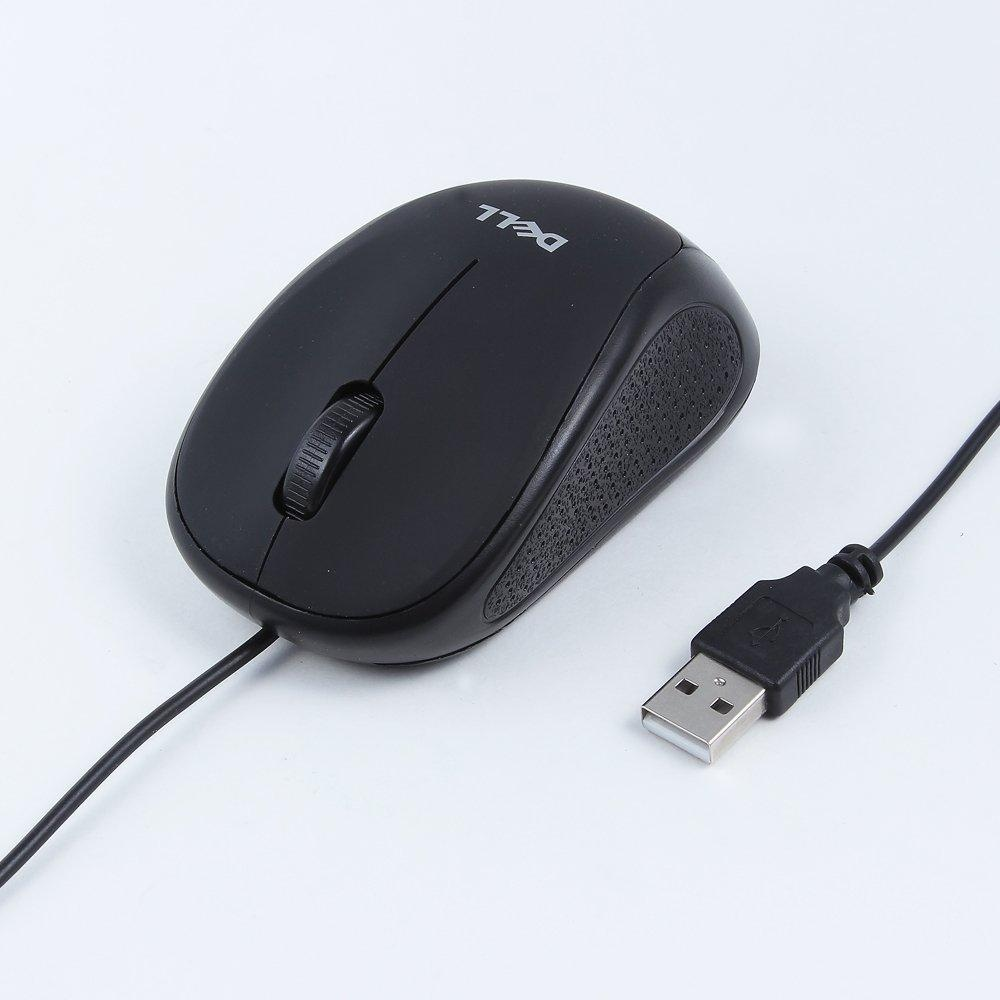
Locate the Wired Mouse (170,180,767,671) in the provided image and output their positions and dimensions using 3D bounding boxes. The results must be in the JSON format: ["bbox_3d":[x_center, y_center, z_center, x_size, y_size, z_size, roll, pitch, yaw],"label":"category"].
[{"bbox_3d":[-0.007,-0.079,0.804,0.431,0.259,0.157,-43,-39,-28],"label":"Wired Mouse"}]

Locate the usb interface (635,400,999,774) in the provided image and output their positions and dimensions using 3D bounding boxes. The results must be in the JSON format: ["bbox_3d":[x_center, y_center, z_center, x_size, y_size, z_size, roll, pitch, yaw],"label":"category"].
[{"bbox_3d":[0.262,-0.008,0.828,0.079,0.569,0.065,22,-46,26],"label":"usb interface"}]
